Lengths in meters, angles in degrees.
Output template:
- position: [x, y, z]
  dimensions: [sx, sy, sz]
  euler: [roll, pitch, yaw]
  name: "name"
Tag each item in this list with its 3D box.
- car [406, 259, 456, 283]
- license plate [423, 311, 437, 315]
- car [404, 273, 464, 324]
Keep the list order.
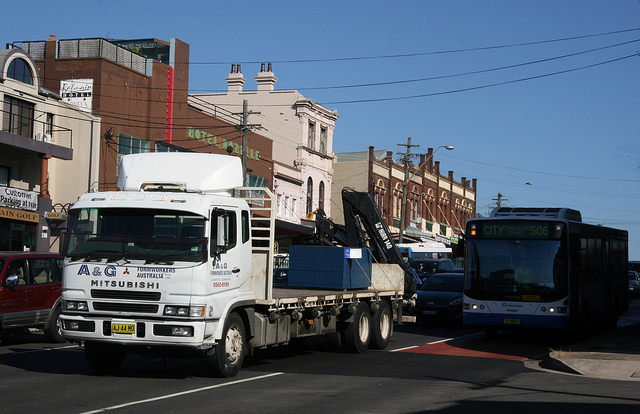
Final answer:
- position: [6.236, 3.914, 43.633]
  dimensions: [2.961, 1.544, 1.753]
  euler: [-4, 4, -42]
  name: "car"
- position: [4.082, 3.936, 29.350]
  dimensions: [0.510, 0.098, 0.021]
  euler: [1, 0, 15]
  name: "license plate"
- position: [4.472, 3.408, 29.844]
  dimensions: [1.569, 1.364, 2.945]
  euler: [-3, -10, 20]
  name: "car"
